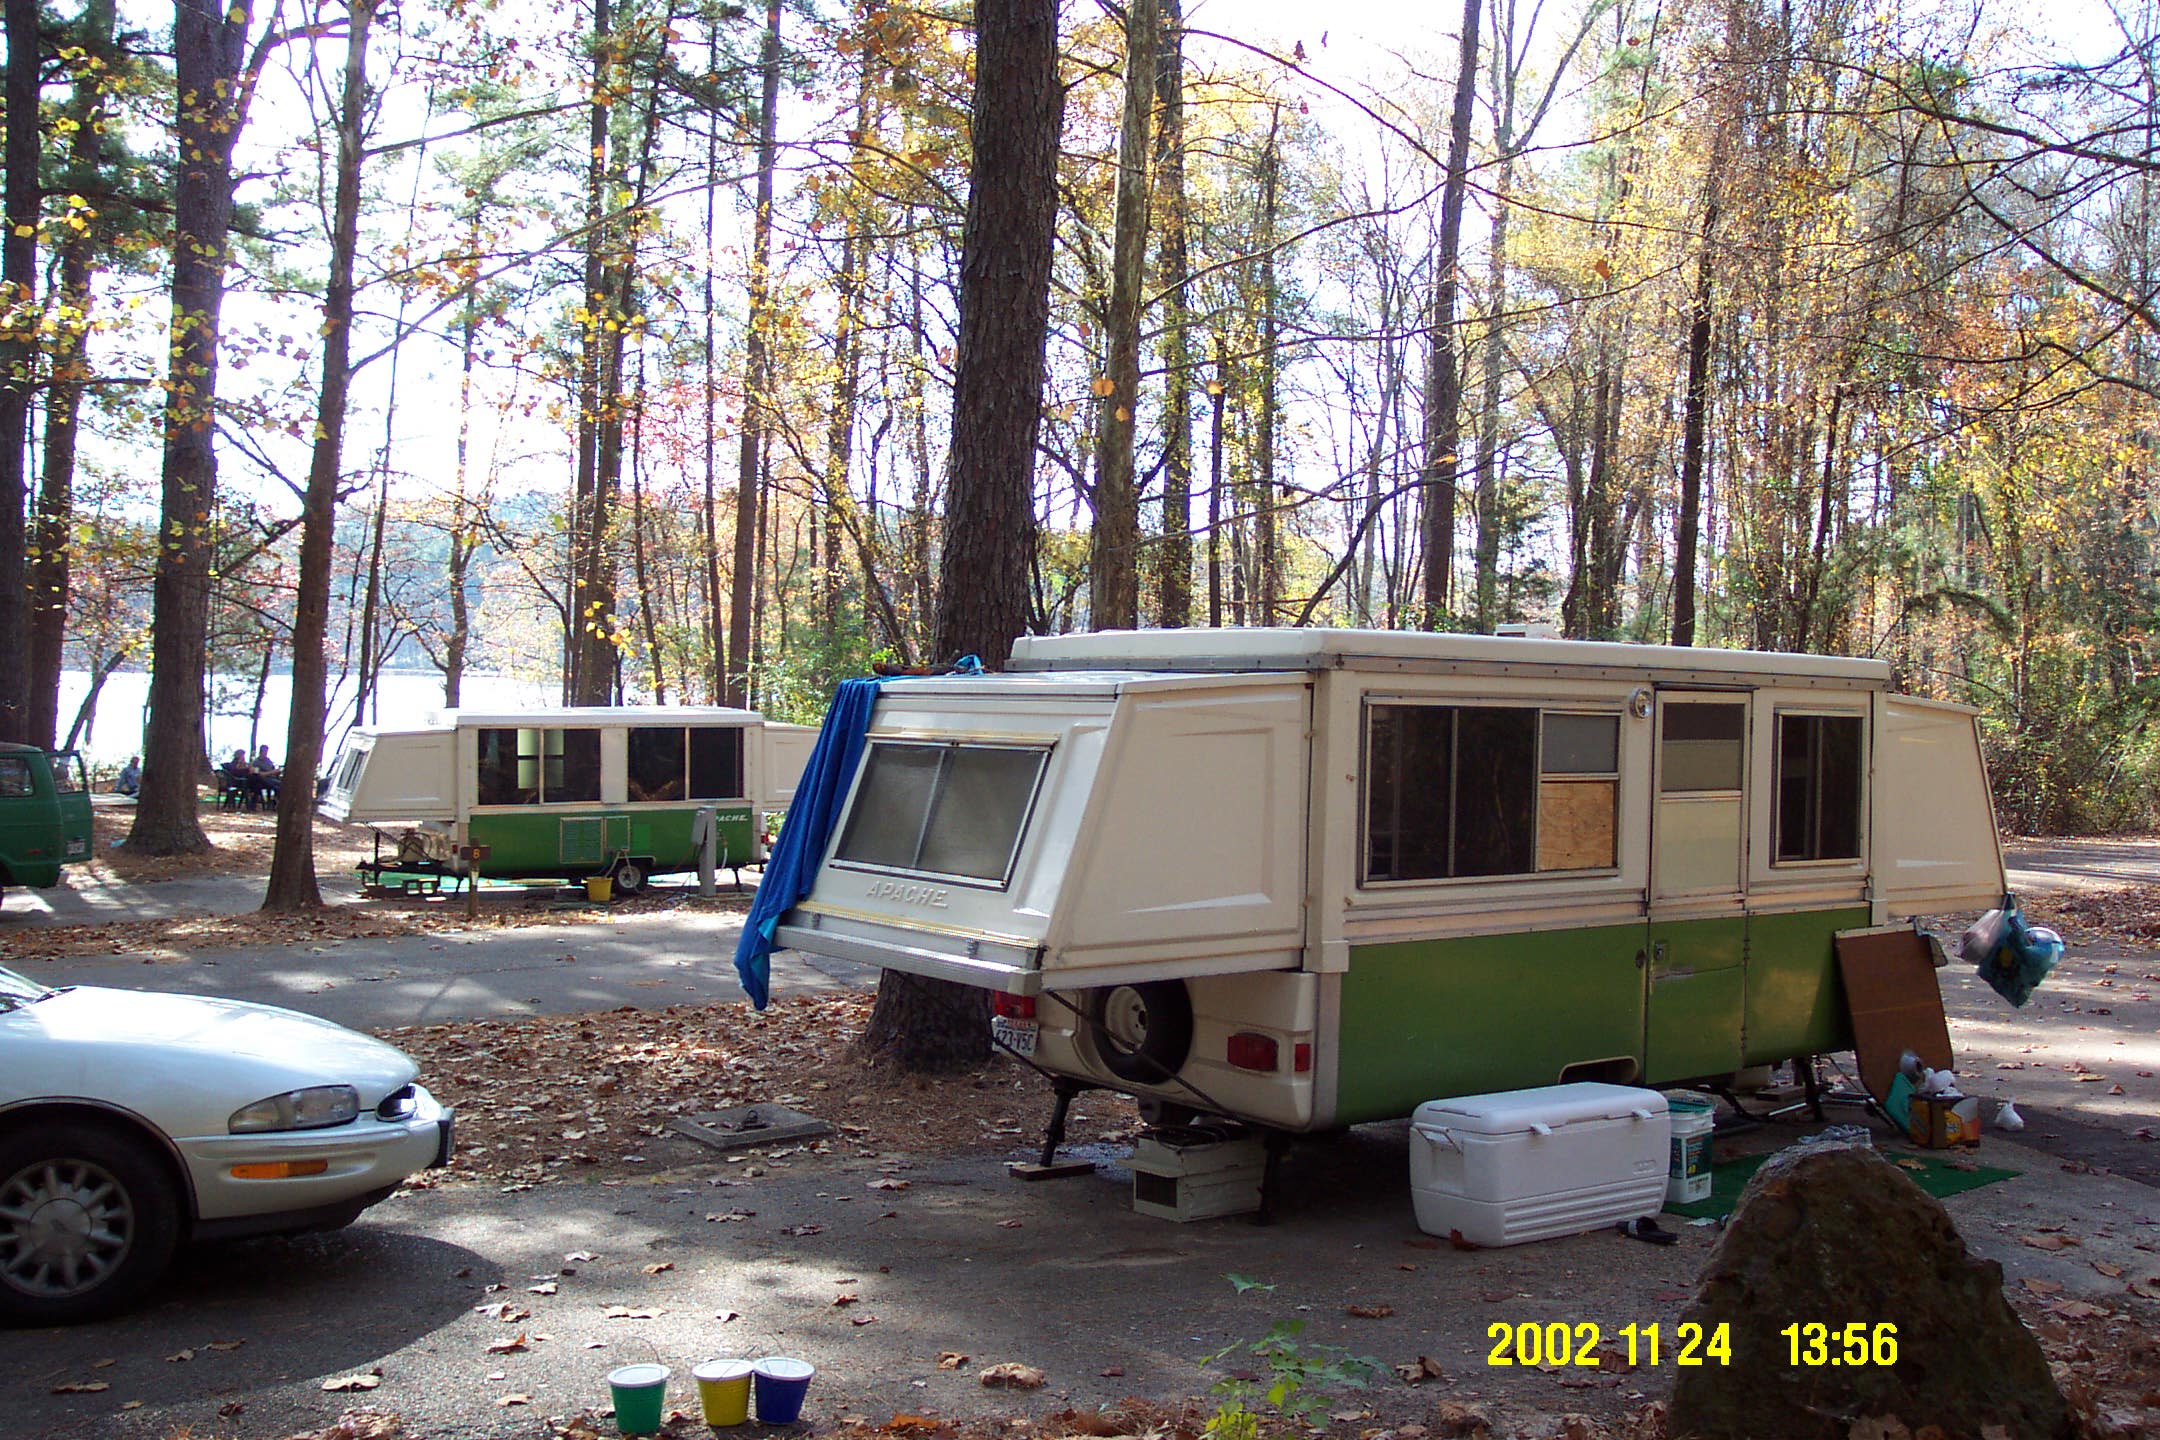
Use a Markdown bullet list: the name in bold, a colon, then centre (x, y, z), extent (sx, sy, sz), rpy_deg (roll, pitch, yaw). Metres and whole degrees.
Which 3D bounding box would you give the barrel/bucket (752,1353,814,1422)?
- **barrel/bucket**: centre (-1.404, 3.155, 8.132), extent (0.290, 0.191, 0.288), rpy_deg (3, -5, 0)

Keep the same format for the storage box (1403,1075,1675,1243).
- **storage box**: centre (2.769, 2.679, 10.310), extent (1.720, 0.688, 0.878), rpy_deg (2, -5, -31)

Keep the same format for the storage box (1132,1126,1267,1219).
- **storage box**: centre (0.759, 2.854, 10.752), extent (0.660, 0.345, 0.641), rpy_deg (-1, 4, -36)

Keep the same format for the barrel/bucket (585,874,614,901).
- **barrel/bucket**: centre (-7.101, 2.481, 25.245), extent (0.406, 0.242, 0.361), rpy_deg (1, 3, -5)

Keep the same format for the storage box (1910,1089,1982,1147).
- **storage box**: centre (6.164, 2.863, 12.319), extent (0.453, 0.275, 0.395), rpy_deg (0, -2, -1)

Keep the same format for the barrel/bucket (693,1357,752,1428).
- **barrel/bucket**: centre (-1.660, 3.147, 8.057), extent (0.304, 0.203, 0.285), rpy_deg (1, -6, 0)
